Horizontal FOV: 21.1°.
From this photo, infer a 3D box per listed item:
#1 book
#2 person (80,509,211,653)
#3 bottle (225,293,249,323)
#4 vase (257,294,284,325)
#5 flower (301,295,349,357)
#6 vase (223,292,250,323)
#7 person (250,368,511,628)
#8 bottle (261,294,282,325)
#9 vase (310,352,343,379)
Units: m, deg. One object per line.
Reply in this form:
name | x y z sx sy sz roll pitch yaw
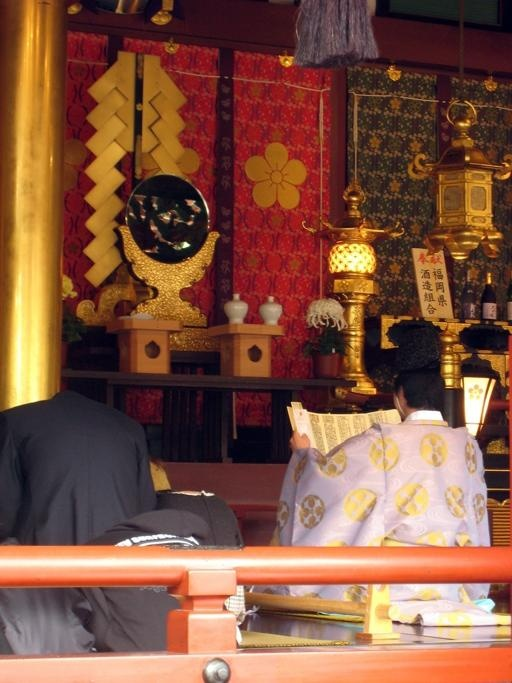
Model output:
book | 0.326 0.314 5.254 0.403 0.183 0.062 5 -46 -29
person | -0.271 0.599 3.236 0.321 0.349 0.701 -1 2 -2
bottle | -0.110 -0.168 7.057 0.178 0.176 0.155 -1 -10 2
vase | 0.074 -0.159 7.184 0.176 0.175 0.153 -1 -14 2
flower | 0.358 -0.074 7.257 0.208 0.298 0.188 0 3 14
vase | -0.109 -0.174 7.085 0.176 0.175 0.154 -1 -9 3
person | 0.393 0.482 4.412 0.811 0.748 0.826 0 2 8
bottle | 0.074 -0.160 7.180 0.172 0.172 0.149 -1 -13 1
vase | 0.367 0.126 7.239 0.164 0.099 0.150 -2 -7 11
